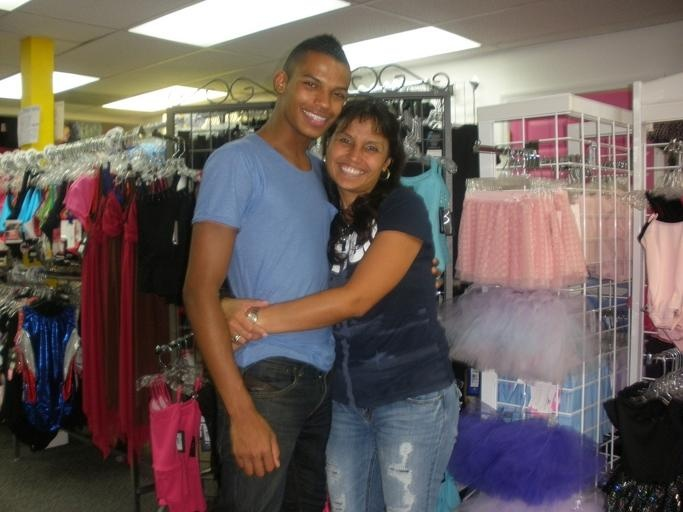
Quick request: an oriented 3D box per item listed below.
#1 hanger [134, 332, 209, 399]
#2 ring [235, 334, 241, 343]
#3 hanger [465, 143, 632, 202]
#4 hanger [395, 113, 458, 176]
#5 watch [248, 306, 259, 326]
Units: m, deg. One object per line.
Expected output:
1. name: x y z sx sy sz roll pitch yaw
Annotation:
1. hanger: -1.033 0.624 3.452 0.410 0.236 0.559 0 -4 8
2. ring: -0.365 0.290 1.874 0.029 0.030 0.009 3 6 17
3. hanger: 1.276 -0.501 3.161 1.082 0.337 0.403 -2 7 -20
4. hanger: 0.550 -0.737 3.525 0.431 0.629 0.152 1 -11 -6
5. watch: -0.306 0.205 1.843 0.034 0.056 0.016 0 5 -9
